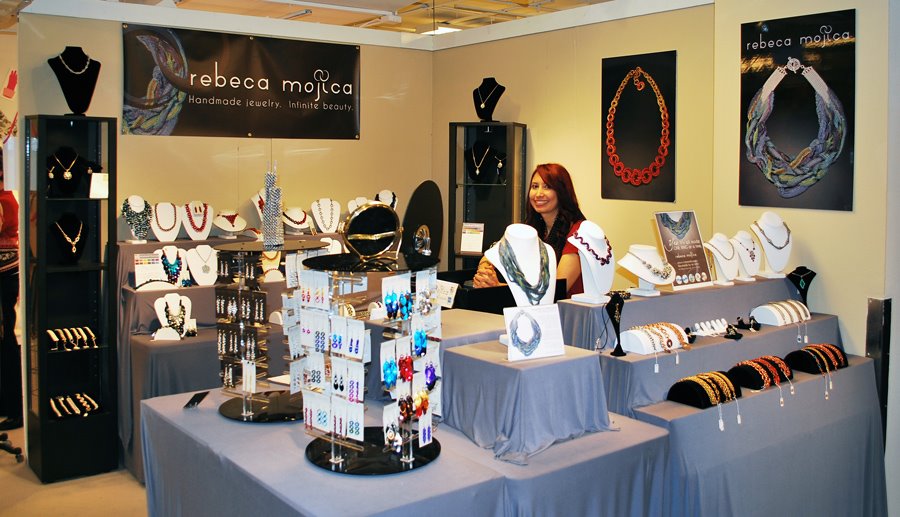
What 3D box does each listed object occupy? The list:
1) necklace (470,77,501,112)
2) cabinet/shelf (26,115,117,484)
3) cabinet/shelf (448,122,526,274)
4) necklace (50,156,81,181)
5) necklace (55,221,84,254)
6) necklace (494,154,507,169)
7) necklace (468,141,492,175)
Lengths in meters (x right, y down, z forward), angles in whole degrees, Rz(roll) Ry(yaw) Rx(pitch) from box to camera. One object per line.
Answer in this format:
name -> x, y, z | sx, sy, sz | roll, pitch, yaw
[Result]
necklace -> 0.401, -1.796, 6.855 | 0.388, 0.436, 0.268 | 3, 20, 28
cabinet/shelf -> -3.223, 0.321, 5.408 | 0.775, 2.907, 0.802 | 10, 9, 40
cabinet/shelf -> 0.345, -0.484, 6.660 | 0.731, 1.805, 0.379 | 1, 2, 11
necklace -> -3.271, -0.781, 5.391 | 0.218, 0.231, 0.025 | -5, 4, -42
necklace -> -3.226, -0.197, 5.388 | 0.292, 0.236, 0.084 | 12, 30, 26
necklace -> 0.535, -1.042, 6.679 | 0.164, 0.138, 0.025 | 0, 3, 18
necklace -> 0.321, -1.085, 6.843 | 0.276, 0.335, 0.207 | 7, 28, 6
